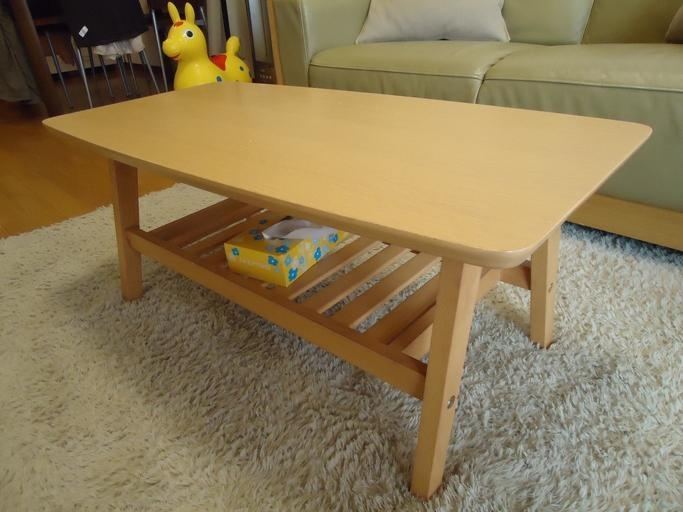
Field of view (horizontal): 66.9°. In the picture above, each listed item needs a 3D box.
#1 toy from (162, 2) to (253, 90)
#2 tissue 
[{"bbox_3d":[-0.679,-1.060,2.620,0.382,0.394,0.361,-8,39,-9],"label":"toy"},{"bbox_3d":[-0.175,-0.027,1.341,0.167,0.074,0.316,22,35,25],"label":"tissue "}]
